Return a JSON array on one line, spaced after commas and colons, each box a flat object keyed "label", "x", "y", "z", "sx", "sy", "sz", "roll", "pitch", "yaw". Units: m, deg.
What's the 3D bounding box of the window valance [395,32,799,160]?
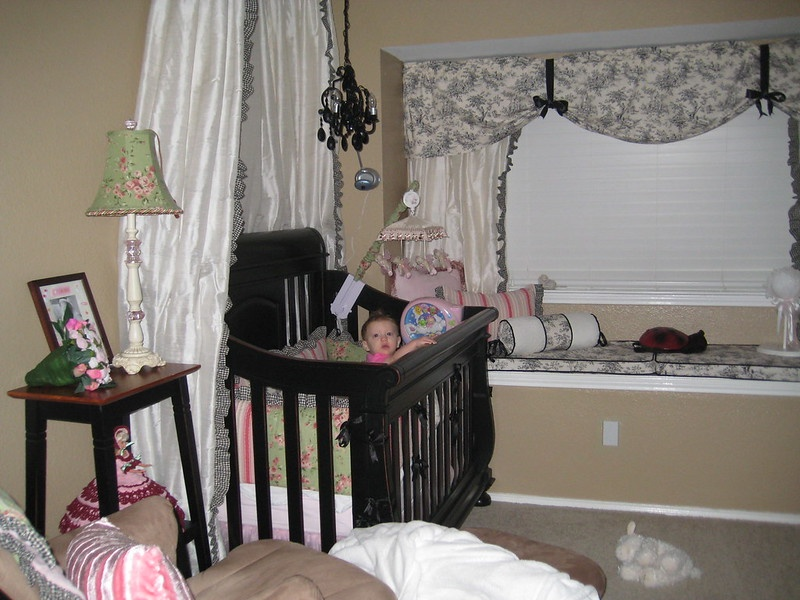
[{"label": "window valance", "x": 1.068, "y": -1.122, "z": 3.674, "sx": 2.132, "sy": 0.550, "sz": 0.071, "roll": 0, "pitch": 7, "yaw": 10}]

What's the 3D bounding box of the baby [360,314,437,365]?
[{"label": "baby", "x": -0.007, "y": 0.189, "z": 2.949, "sx": 0.272, "sy": 0.212, "sz": 0.262, "roll": -2, "pitch": 12, "yaw": -24}]

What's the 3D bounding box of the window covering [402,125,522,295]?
[{"label": "window covering", "x": 0.410, "y": -0.554, "z": 3.864, "sx": 0.648, "sy": 0.937, "sz": 0.158, "roll": 6, "pitch": 12, "yaw": 14}]

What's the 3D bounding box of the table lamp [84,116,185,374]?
[{"label": "table lamp", "x": -0.930, "y": -0.194, "z": 2.366, "sx": 0.298, "sy": 0.885, "sz": 0.244, "roll": -2, "pitch": 7, "yaw": -3}]
